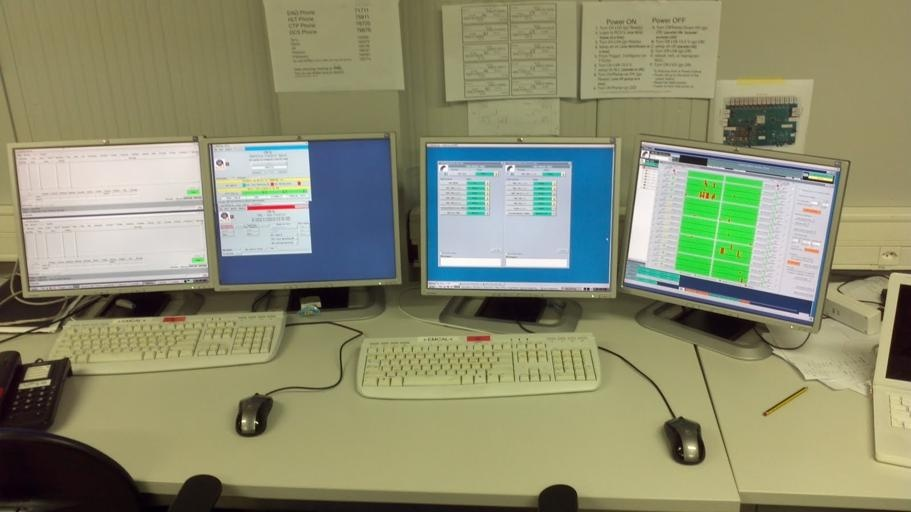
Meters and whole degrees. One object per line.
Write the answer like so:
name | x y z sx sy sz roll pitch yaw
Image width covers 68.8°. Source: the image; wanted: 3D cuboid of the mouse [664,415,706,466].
mouse | 0.735 0.578 2.138 0.118 0.053 0.167 1 39 2

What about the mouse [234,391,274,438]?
mouse | -0.679 0.517 2.238 0.139 0.050 0.168 1 31 -1

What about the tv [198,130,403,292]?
tv | -0.572 -0.163 2.596 0.866 0.586 0.057 -8 10 -44

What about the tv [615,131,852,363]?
tv | 0.997 -0.004 2.434 0.803 0.675 0.417 11 31 27

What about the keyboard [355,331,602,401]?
keyboard | 0.103 0.381 2.340 0.700 0.061 0.231 -2 45 0

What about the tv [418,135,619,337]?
tv | 0.222 -0.095 2.599 0.924 0.710 0.429 -2 8 -30
